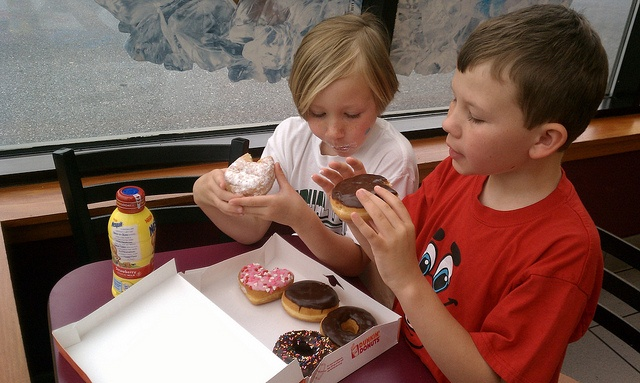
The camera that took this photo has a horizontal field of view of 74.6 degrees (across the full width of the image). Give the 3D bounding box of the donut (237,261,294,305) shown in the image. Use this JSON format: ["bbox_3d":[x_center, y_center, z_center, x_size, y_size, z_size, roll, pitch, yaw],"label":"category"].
[{"bbox_3d":[-0.218,0.342,1.602,0.200,0.066,0.199,12,26,14],"label":"donut"}]

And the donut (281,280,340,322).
[{"bbox_3d":[-0.063,0.433,1.568,0.161,0.057,0.164,15,0,42],"label":"donut"}]

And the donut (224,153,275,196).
[{"bbox_3d":[-0.273,-0.068,1.622,0.179,0.118,0.162,22,43,30],"label":"donut"}]
